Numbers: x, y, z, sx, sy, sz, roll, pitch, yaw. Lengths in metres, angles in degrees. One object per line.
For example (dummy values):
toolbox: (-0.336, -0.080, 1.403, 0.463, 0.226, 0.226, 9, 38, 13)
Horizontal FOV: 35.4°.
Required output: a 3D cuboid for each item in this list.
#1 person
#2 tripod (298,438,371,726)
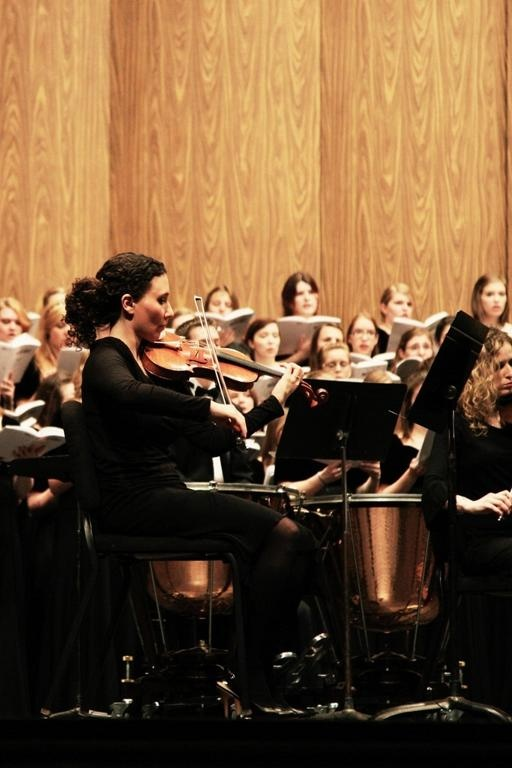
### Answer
person: (-0.154, 0.163, 1.893, 0.584, 1.368, 0.636, 0, -1, 14)
tripod: (0.201, 0.412, 1.835, 0.168, 0.706, 0.170, 3, -15, -4)
